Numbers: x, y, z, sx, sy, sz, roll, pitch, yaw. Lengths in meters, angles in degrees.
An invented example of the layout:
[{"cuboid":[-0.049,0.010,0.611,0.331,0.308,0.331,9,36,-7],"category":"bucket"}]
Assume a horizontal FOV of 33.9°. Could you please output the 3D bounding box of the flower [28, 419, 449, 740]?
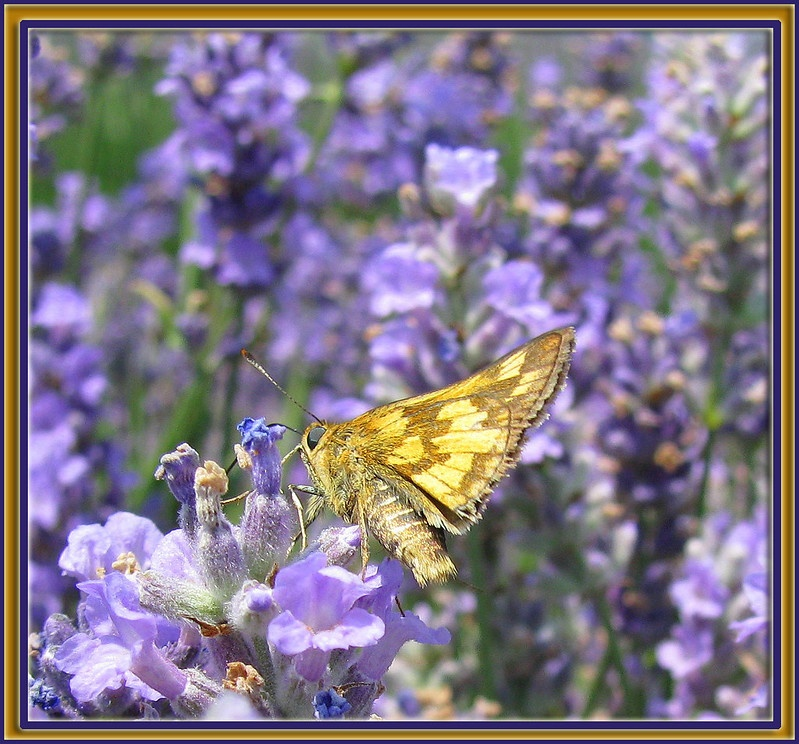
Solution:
[{"cuboid":[-0.372,0.514,3.088,0.773,0.781,0.773,-9,86,-36],"category":"flower"}]
